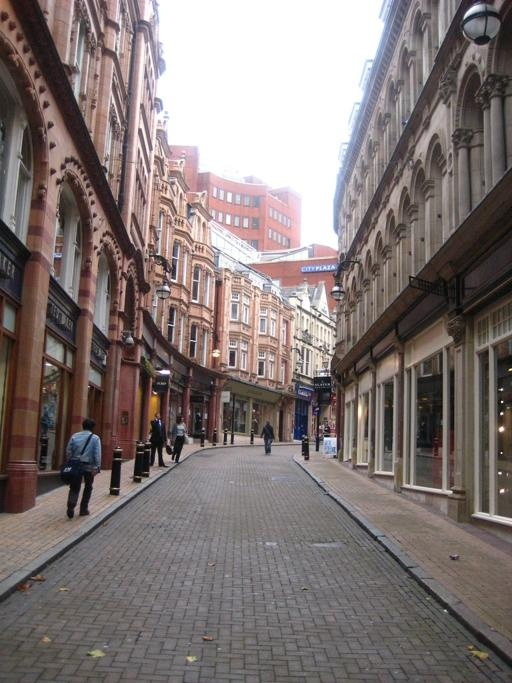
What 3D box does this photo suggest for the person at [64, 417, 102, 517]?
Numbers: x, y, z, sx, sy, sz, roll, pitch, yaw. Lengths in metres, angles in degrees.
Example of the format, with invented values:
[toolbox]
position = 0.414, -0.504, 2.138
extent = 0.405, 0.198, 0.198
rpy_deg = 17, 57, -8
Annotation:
[person]
position = -3.184, 2.335, 9.046
extent = 0.589, 1.775, 1.223
rpy_deg = 4, -9, -20

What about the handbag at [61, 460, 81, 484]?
[handbag]
position = -3.202, 2.286, 8.487
extent = 0.318, 0.400, 0.240
rpy_deg = 4, -9, -18
